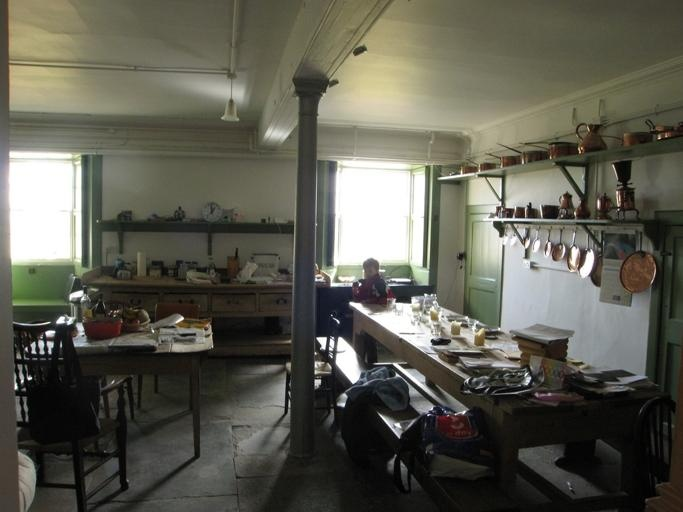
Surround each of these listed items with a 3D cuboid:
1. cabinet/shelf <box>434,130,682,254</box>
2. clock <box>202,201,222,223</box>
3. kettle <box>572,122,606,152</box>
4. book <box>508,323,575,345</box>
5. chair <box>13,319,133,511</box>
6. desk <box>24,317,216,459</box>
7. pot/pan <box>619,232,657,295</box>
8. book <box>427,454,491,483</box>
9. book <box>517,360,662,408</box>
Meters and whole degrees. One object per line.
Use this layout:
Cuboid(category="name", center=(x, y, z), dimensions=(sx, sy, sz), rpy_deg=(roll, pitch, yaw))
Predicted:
Cuboid(category="cabinet/shelf", center=(2.260, -0.800, 5.684), dimensions=(0.678, 0.905, 2.658), rpy_deg=(-5, 15, -20))
Cuboid(category="clock", center=(-1.717, -0.590, 7.484), dimensions=(0.223, 0.251, 0.254), rpy_deg=(5, 14, 20))
Cuboid(category="kettle", center=(2.265, -1.064, 5.058), dimensions=(0.196, 0.263, 0.348), rpy_deg=(0, 14, -2))
Cuboid(category="book", center=(1.467, 0.562, 4.044), dimensions=(0.230, 0.065, 0.230), rpy_deg=(-3, 5, -35))
Cuboid(category="chair", center=(-1.955, 1.056, 4.049), dimensions=(0.706, 1.369, 0.964), rpy_deg=(-8, 16, -31))
Cuboid(category="desk", center=(-1.584, 0.964, 4.720), dimensions=(1.109, 0.866, 0.938), rpy_deg=(-1, 1, -3))
Cuboid(category="pot/pan", center=(2.695, 0.152, 5.053), dimensions=(0.123, 0.409, 0.319), rpy_deg=(-5, 14, -21))
Cuboid(category="book", center=(0.711, 1.339, 3.527), dimensions=(0.203, 0.086, 0.209), rpy_deg=(4, 0, -12))
Cuboid(category="book", center=(1.643, 0.863, 3.748), dimensions=(0.477, 0.132, 0.494), rpy_deg=(-1, 4, -31))
